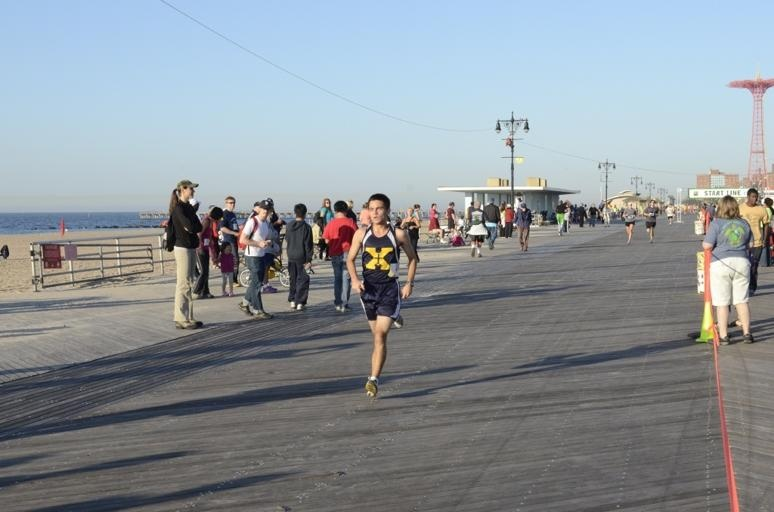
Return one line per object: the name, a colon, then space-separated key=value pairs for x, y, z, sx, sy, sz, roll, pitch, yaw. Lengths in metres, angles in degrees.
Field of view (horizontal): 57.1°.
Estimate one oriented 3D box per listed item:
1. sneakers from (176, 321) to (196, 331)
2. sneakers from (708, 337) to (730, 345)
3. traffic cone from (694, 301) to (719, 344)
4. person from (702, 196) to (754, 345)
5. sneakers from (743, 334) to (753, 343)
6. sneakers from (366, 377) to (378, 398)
sneakers: x=-3.620 y=1.258 z=12.766 sx=0.386 sy=0.180 sz=0.130 roll=-1 pitch=3 yaw=2
sneakers: x=5.125 y=1.310 z=10.944 sx=0.373 sy=0.146 sz=0.137 roll=0 pitch=2 yaw=4
traffic cone: x=5.036 y=1.058 z=11.225 sx=0.521 sy=0.706 sz=0.530 roll=-1 pitch=-6 yaw=23
person: x=5.374 y=0.189 z=11.222 sx=0.762 sy=2.164 sz=1.078 roll=3 pitch=10 yaw=23
sneakers: x=5.584 y=1.262 z=11.027 sx=0.148 sy=0.124 sz=0.251 roll=3 pitch=10 yaw=25
sneakers: x=-0.214 y=1.627 z=8.882 sx=0.111 sy=0.273 sz=0.138 roll=3 pitch=34 yaw=19
